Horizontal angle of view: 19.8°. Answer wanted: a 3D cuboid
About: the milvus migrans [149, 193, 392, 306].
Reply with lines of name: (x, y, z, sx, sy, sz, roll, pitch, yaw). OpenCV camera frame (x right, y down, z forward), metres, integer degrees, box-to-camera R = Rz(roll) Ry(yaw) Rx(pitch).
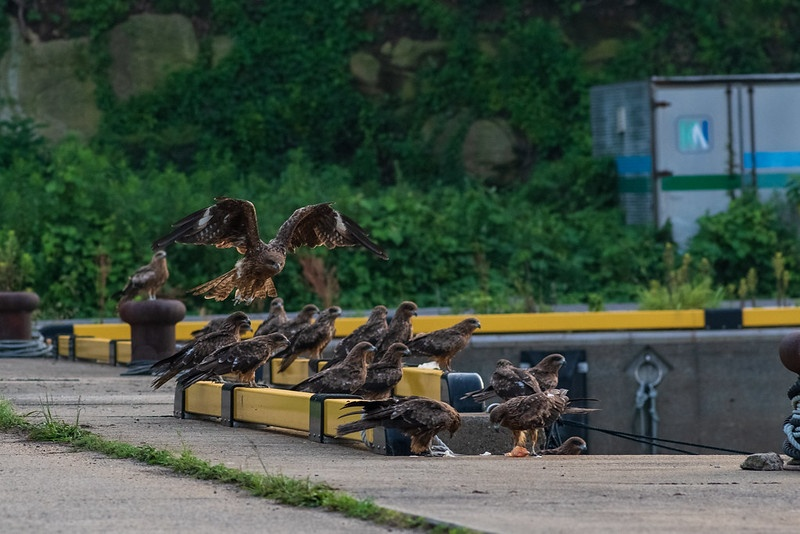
milvus migrans: (-3.557, -0.299, 56.289, 6.104, 2.360, 2.609, 2, -4, -30)

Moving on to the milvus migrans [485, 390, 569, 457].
milvus migrans: (3.000, 3.621, 53.588, 2.068, 1.389, 0.941, -8, 1, -26)
